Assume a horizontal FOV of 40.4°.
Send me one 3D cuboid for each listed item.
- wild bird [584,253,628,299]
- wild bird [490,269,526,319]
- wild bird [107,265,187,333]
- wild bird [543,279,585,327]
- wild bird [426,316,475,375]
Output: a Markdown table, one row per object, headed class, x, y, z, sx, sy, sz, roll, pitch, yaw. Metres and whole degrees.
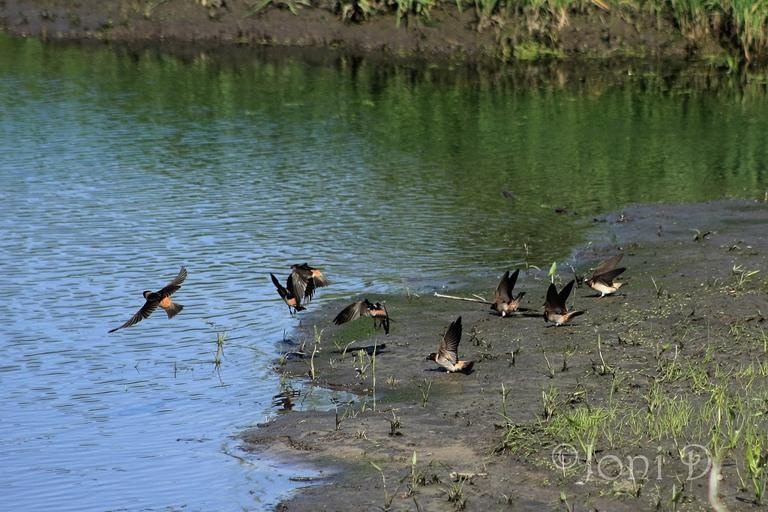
| class | x | y | z | sx | sy | sz | roll | pitch | yaw |
| --- | --- | --- | --- | --- | --- | --- | --- | --- | --- |
| wild bird | 4.446 | 0.457 | 21.213 | 0.940 | 0.647 | 0.912 | -3 | 17 | 10 |
| wild bird | 2.420 | 0.690 | 20.852 | 0.612 | 1.051 | 1.446 | 0 | 11 | 6 |
| wild bird | -4.177 | 0.778 | 19.271 | 1.016 | 1.119 | 2.036 | -3 | 11 | -9 |
| wild bird | 3.340 | 0.996 | 20.155 | 1.048 | 0.622 | 1.182 | 10 | -10 | 15 |
| wild bird | 0.887 | 1.616 | 18.927 | 1.317 | 0.904 | 1.121 | 2 | 6 | 9 |
